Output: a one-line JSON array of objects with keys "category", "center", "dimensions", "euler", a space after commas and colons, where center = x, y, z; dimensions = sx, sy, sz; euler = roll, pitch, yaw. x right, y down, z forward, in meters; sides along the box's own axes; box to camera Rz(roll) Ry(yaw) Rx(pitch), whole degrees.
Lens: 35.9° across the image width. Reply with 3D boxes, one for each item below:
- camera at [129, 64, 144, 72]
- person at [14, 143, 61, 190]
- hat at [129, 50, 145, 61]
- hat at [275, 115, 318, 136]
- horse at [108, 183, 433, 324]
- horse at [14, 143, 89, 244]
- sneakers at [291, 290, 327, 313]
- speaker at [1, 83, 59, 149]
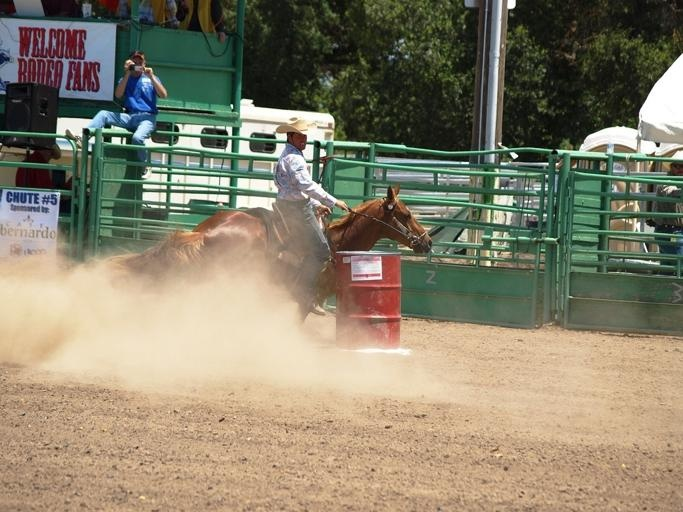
[{"category": "camera", "center": [-3.241, -2.967, 16.612], "dimensions": [0.241, 0.174, 0.087], "euler": [4, 7, -9]}, {"category": "person", "center": [-4.755, -1.386, 16.544], "dimensions": [0.759, 0.706, 0.445], "euler": [9, 12, 31]}, {"category": "hat", "center": [-3.242, -3.140, 16.730], "dimensions": [0.211, 0.239, 0.252], "euler": [2, 2, -12]}, {"category": "hat", "center": [-0.675, -1.665, 13.796], "dimensions": [0.476, 0.209, 0.526], "euler": [-7, 0, 33]}, {"category": "horse", "center": [-0.811, 0.094, 13.964], "dimensions": [3.830, 1.855, 0.772], "euler": [3, 2, -6]}, {"category": "horse", "center": [-4.648, -1.061, 16.574], "dimensions": [0.890, 1.511, 1.218], "euler": [2, 2, -18]}, {"category": "sneakers", "center": [-0.433, 0.623, 13.986], "dimensions": [0.290, 0.096, 0.414], "euler": [24, 1, 31]}, {"category": "speaker", "center": [-4.804, -2.158, 16.351], "dimensions": [0.771, 0.993, 0.555], "euler": [2, 2, -19]}]
